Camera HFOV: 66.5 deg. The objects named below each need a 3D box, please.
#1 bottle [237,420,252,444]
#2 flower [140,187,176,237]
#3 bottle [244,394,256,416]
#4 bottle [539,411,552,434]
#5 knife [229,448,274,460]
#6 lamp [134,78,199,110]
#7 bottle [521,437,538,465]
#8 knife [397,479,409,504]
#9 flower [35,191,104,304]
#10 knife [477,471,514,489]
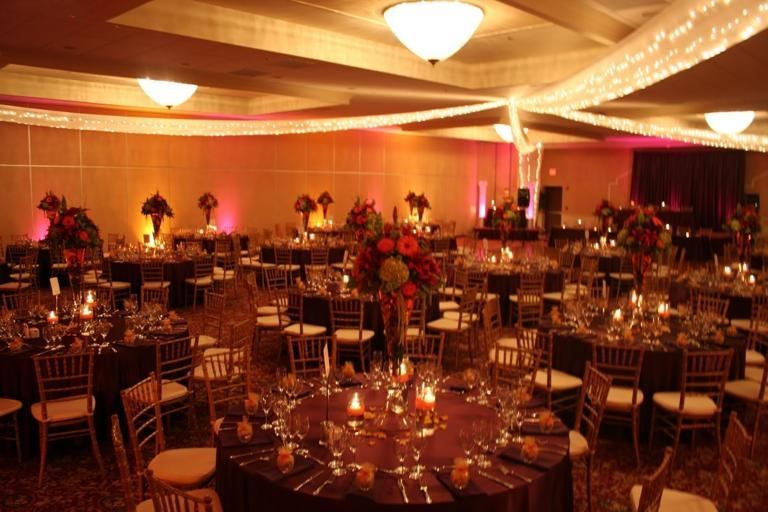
[{"bbox_3d":[-1.233,1.568,5.243,0.148,0.238,0.160,2,-4,0],"label":"bottle"},{"bbox_3d":[-5.343,-0.928,13.721,0.717,1.088,0.744,-6,-18,-4],"label":"flower"},{"bbox_3d":[-1.260,1.390,5.525,0.132,0.196,0.107,-2,6,0],"label":"bottle"},{"bbox_3d":[1.485,1.515,5.380,0.105,0.140,0.159,2,7,31],"label":"bottle"},{"bbox_3d":[-1.139,1.704,5.040,0.357,0.036,0.088,-2,6,-2],"label":"knife"},{"bbox_3d":[-4.530,-3.361,12.107,1.038,0.589,1.103,-1,5,-17],"label":"lamp"},{"bbox_3d":[1.230,1.678,5.044,0.156,0.231,0.171,-1,-1,0],"label":"bottle"},{"bbox_3d":[0.146,1.878,4.711,0.040,0.077,0.243,-7,22,-6],"label":"knife"},{"bbox_3d":[-4.496,-0.148,8.472,0.750,1.488,0.749,-2,-8,-30],"label":"flower"},{"bbox_3d":[0.910,1.844,4.807,0.035,0.040,0.261,-22,24,-30],"label":"knife"}]
